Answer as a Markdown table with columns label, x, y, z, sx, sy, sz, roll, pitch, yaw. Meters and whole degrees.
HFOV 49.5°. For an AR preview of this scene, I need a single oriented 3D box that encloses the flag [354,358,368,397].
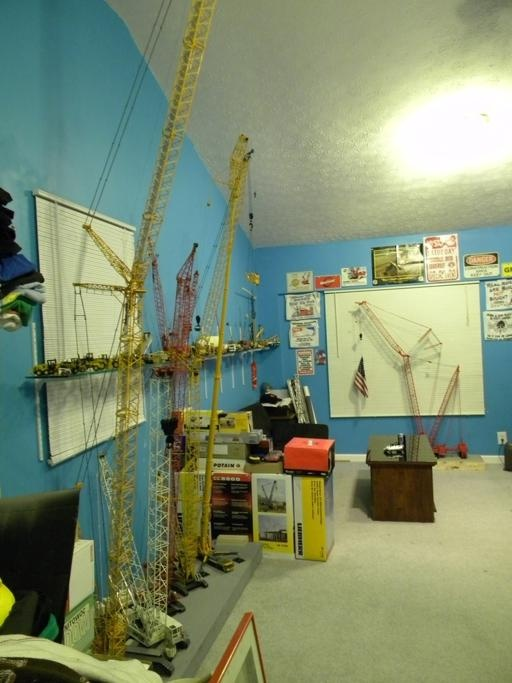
| label | x | y | z | sx | sy | sz | roll | pitch | yaw |
| --- | --- | --- | --- | --- | --- | --- | --- | --- | --- |
| flag | 1.397 | 0.496 | 7.436 | 0.196 | 0.387 | 0.203 | -3 | 1 | 9 |

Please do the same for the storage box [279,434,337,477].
| label | x | y | z | sx | sy | sz | roll | pitch | yaw |
| --- | --- | --- | --- | --- | --- | --- | --- | --- | --- |
| storage box | 0.414 | 0.923 | 4.446 | 0.379 | 0.211 | 0.453 | -2 | 1 | 12 |

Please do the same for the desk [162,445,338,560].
| label | x | y | z | sx | sy | sz | roll | pitch | yaw |
| --- | --- | --- | --- | --- | --- | --- | --- | --- | --- |
| desk | -0.054 | 1.246 | 4.252 | 1.065 | 0.854 | 0.381 | 1 | 7 | 16 |

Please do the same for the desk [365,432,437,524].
| label | x | y | z | sx | sy | sz | roll | pitch | yaw |
| --- | --- | --- | --- | --- | --- | --- | --- | --- | --- |
| desk | 1.434 | 1.374 | 5.658 | 0.624 | 0.543 | 1.189 | -2 | -1 | 9 |
